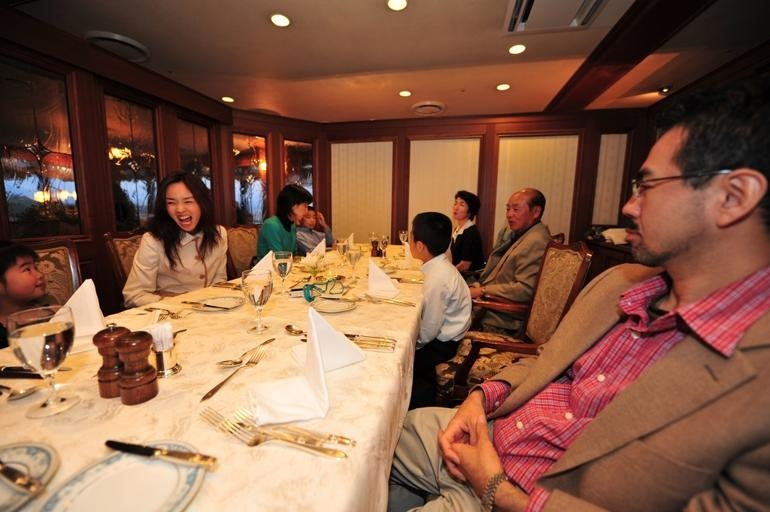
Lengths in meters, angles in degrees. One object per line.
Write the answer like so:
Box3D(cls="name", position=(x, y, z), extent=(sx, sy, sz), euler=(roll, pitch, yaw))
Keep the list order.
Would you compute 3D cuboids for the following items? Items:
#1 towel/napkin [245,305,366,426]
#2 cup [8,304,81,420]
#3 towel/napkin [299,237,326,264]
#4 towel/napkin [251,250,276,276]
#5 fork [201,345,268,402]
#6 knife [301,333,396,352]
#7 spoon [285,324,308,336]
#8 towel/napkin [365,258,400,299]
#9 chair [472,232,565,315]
Box3D(cls="towel/napkin", position=(-0.366, 0.441, 2.192), extent=(0.370, 0.189, 0.488), euler=(1, 27, 4))
Box3D(cls="cup", position=(-1.505, 0.466, 2.147), extent=(0.241, 0.426, 0.245), euler=(1, 14, 0))
Box3D(cls="towel/napkin", position=(-0.559, -0.018, 3.979), extent=(0.174, 0.164, 0.238), euler=(-11, 18, 45))
Box3D(cls="towel/napkin", position=(-0.767, 0.039, 3.159), extent=(0.165, 0.158, 0.205), euler=(1, 2, 1))
Box3D(cls="fork", position=(-0.678, 0.527, 2.388), extent=(0.085, 0.077, 0.540), euler=(22, 34, 18))
Box3D(cls="knife", position=(-0.218, 0.451, 2.483), extent=(0.543, 0.026, 0.160), euler=(3, 40, 1))
Box3D(cls="spoon", position=(-0.471, 0.388, 2.546), extent=(0.142, 0.022, 0.047), euler=(11, 29, 26))
Box3D(cls="towel/napkin", position=(-0.022, 0.149, 3.101), extent=(0.207, 0.257, 0.265), euler=(2, 0, -3))
Box3D(cls="chair", position=(1.051, 0.146, 3.793), extent=(0.380, 0.665, 0.469), euler=(24, 24, 10))
